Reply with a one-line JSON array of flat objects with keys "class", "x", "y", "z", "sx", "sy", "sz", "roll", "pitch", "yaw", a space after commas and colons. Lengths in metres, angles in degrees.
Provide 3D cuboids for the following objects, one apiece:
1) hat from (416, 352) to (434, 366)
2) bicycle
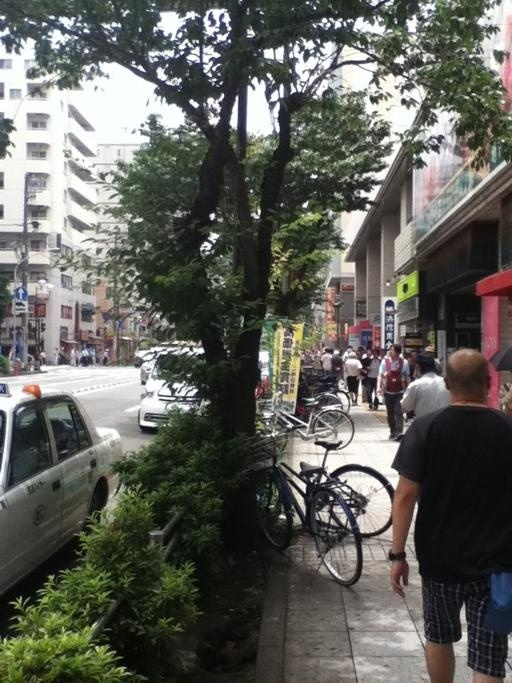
[{"class": "hat", "x": 1.636, "y": 0.183, "z": 6.372, "sx": 0.140, "sy": 0.166, "sz": 0.113, "roll": -10, "pitch": 13, "yaw": -31}, {"class": "bicycle", "x": 0.572, "y": 1.264, "z": 5.437, "sx": 0.733, "sy": 0.958, "sz": 1.447, "roll": -4, "pitch": 5, "yaw": -39}]
